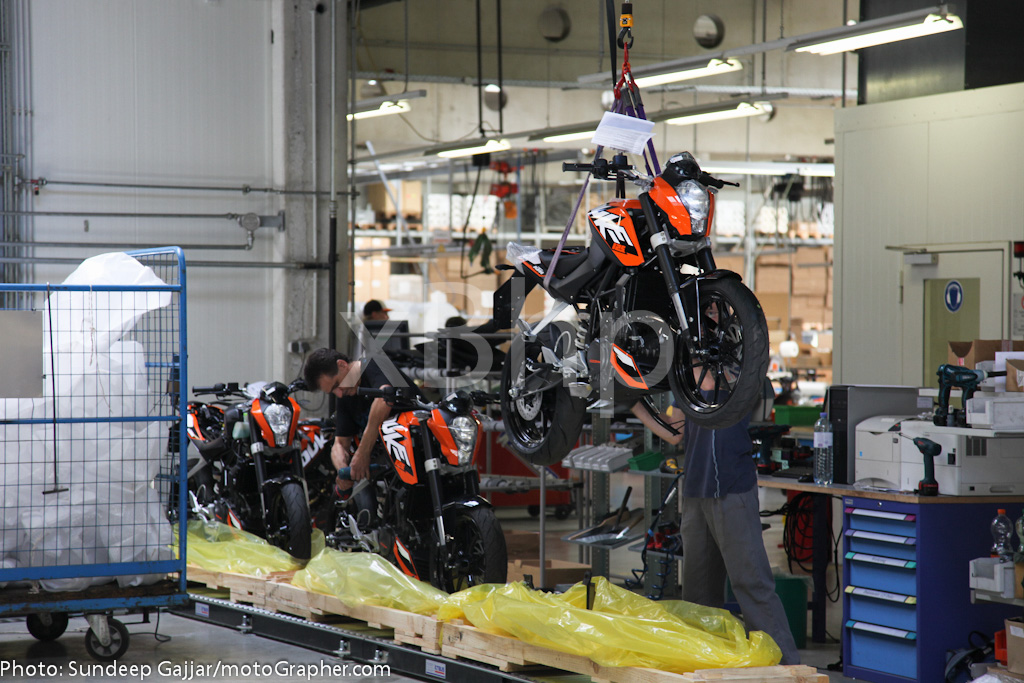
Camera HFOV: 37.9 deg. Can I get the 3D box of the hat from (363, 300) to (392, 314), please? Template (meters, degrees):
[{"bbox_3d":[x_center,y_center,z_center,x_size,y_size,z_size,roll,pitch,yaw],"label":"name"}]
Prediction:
[{"bbox_3d":[-1.346,-0.311,14.709,0.195,0.116,0.138,-7,6,-35],"label":"hat"}]

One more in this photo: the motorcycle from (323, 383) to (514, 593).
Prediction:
[{"bbox_3d":[-0.611,1.054,10.428,1.265,1.419,0.514,2,2,40],"label":"motorcycle"}]

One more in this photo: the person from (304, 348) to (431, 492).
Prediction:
[{"bbox_3d":[-1.188,0.555,11.061,0.716,0.761,1.136,-3,1,-30],"label":"person"}]

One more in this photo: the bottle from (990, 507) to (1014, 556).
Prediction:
[{"bbox_3d":[3.269,1.276,9.872,0.143,0.309,0.439,1,2,17],"label":"bottle"}]

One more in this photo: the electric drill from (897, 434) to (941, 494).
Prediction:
[{"bbox_3d":[2.781,0.862,10.046,0.251,0.384,0.164,1,2,16],"label":"electric drill"}]
